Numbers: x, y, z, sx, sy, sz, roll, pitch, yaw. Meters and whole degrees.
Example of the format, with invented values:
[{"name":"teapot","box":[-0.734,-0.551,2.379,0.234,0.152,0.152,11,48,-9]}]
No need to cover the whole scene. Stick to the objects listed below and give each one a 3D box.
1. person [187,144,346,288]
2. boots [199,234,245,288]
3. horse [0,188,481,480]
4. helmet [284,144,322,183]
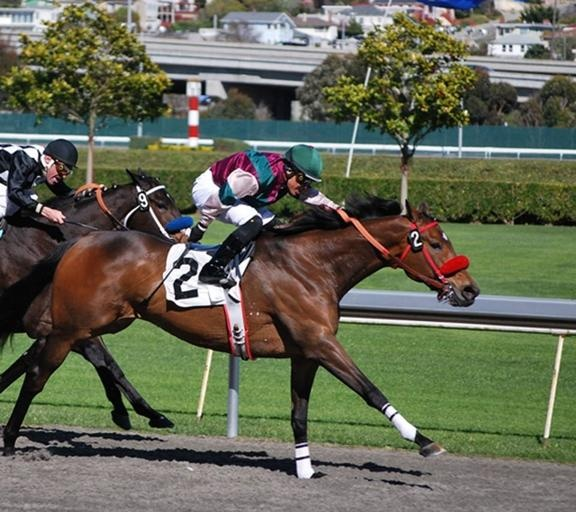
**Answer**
[{"name":"person","box":[-0.094,-0.289,6.319,1.034,0.875,0.707,5,21,2]},{"name":"boots","box":[-0.392,0.034,6.006,0.271,0.342,0.105,1,11,-4]},{"name":"horse","box":[-0.255,0.484,6.198,2.775,1.711,0.678,3,11,9]},{"name":"helmet","box":[0.099,-0.574,6.168,0.229,0.233,0.289,2,10,-1]}]
